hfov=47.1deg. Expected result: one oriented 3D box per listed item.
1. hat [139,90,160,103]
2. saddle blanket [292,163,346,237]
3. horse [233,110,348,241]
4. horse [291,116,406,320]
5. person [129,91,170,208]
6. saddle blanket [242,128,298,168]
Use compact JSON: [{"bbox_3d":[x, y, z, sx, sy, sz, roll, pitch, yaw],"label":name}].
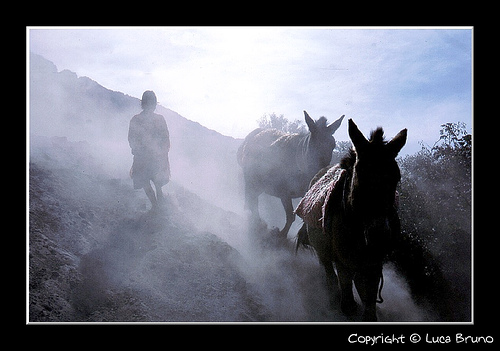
[{"bbox_3d":[-0.889,-0.689,5.006,0.141,0.107,0.108,1,8,-9],"label":"hat"},{"bbox_3d":[0.636,0.224,4.728,0.268,0.551,0.839,-6,-4,-24],"label":"saddle blanket"},{"bbox_3d":[0.287,0.168,5.471,0.486,1.286,1.772,13,17,34],"label":"horse"},{"bbox_3d":[0.799,0.365,4.572,0.366,1.638,0.841,-4,10,-40],"label":"horse"},{"bbox_3d":[-0.888,-0.226,5.065,0.349,1.007,0.115,1,8,-11],"label":"person"},{"bbox_3d":[0.140,-0.262,5.165,0.670,0.408,0.229,2,13,2],"label":"saddle blanket"}]
